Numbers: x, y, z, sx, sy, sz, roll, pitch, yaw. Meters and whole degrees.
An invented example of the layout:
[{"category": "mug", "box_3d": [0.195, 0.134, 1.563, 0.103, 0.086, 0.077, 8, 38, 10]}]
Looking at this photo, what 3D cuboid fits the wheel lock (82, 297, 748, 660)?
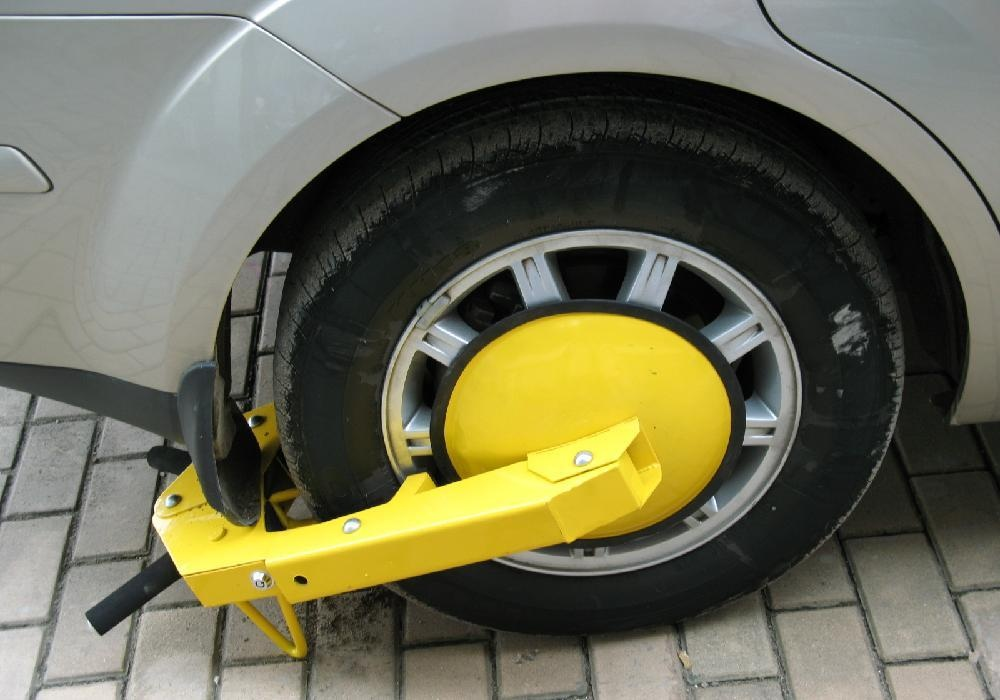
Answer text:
[{"category": "wheel lock", "box_3d": [-0.142, 0.215, 1.963, 1.221, 0.482, 0.757, -5, 98, 1]}]
